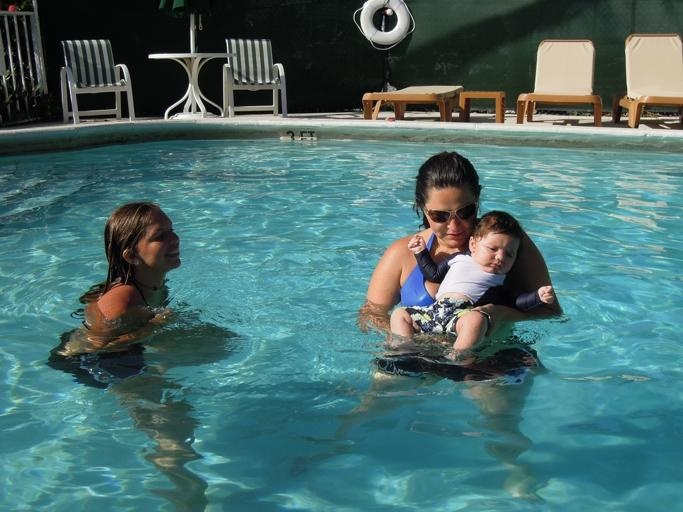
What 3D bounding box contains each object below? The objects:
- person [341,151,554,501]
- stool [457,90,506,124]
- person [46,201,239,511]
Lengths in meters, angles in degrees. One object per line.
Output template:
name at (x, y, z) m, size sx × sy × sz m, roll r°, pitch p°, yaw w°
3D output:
person at (0.446, 0.173, 2.610) m, size 0.988 × 1.317 × 0.996 m, roll 1°, pitch 10°, yaw 16°
stool at (2.565, -2.712, 10.329) m, size 0.612 × 0.609 × 0.975 m, roll -4°, pitch 8°, yaw -17°
person at (-0.891, 0.274, 2.823) m, size 0.939 × 1.065 × 1.401 m, roll -7°, pitch 10°, yaw -30°
